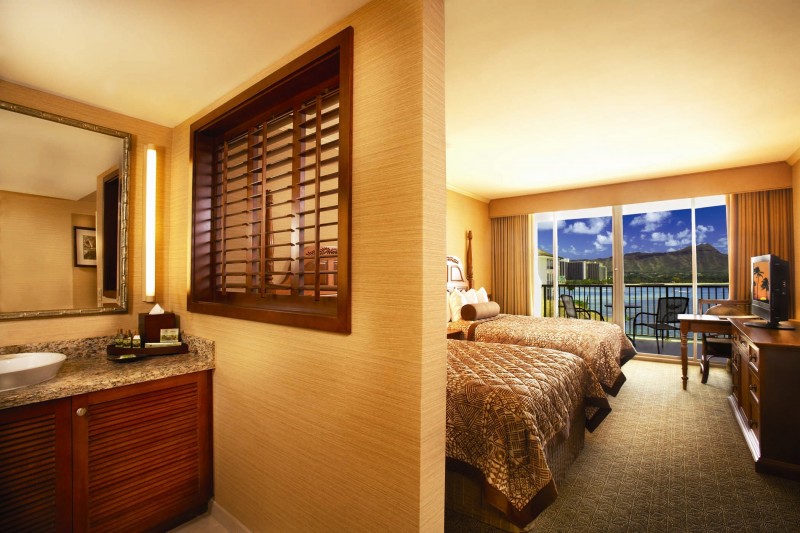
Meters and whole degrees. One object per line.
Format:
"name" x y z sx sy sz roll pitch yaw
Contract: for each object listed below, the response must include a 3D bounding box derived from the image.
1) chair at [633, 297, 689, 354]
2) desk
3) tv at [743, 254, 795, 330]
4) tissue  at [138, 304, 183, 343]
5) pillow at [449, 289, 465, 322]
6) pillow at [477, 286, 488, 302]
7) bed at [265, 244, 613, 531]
"chair" 4.489 0.997 8.781 0.711 0.919 0.718 3 -3 -28
"desk" 3.996 1.166 6.356 0.900 0.991 1.143 4 -6 27
"tv" 4.023 0.289 5.507 0.534 0.875 0.925 1 -1 28
"tissue " -2.092 0.524 4.513 0.240 0.296 0.168 -4 7 -10
"pillow" 0.762 0.552 6.891 0.193 0.476 0.416 -1 -1 11
"pillow" 1.198 0.428 7.610 0.218 0.198 0.065 14 -20 -42
"bed" 0.438 1.058 4.362 2.056 0.469 2.069 0 5 29
